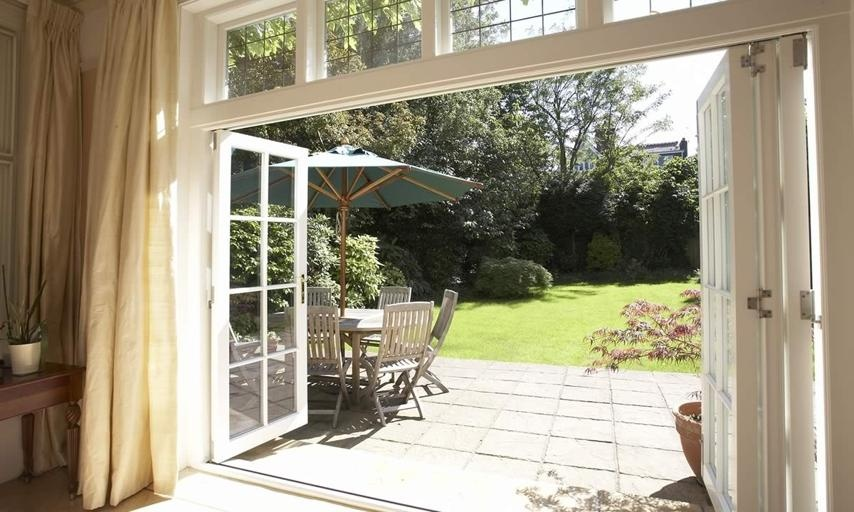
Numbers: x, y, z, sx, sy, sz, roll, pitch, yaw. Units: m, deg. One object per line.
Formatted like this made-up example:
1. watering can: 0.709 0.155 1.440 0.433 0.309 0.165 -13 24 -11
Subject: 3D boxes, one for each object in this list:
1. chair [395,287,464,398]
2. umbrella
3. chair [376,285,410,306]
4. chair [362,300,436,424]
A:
1. chair: 0.122 1.020 7.364 1.049 1.288 0.828 -1 -3 -1
2. umbrella: -1.006 -0.403 7.409 2.193 1.441 2.191 2 -1 -38
3. chair: -0.433 0.498 7.896 0.277 0.451 0.322 1 -7 11
4. chair: -0.340 1.007 6.634 0.721 1.219 1.115 -1 8 -6
